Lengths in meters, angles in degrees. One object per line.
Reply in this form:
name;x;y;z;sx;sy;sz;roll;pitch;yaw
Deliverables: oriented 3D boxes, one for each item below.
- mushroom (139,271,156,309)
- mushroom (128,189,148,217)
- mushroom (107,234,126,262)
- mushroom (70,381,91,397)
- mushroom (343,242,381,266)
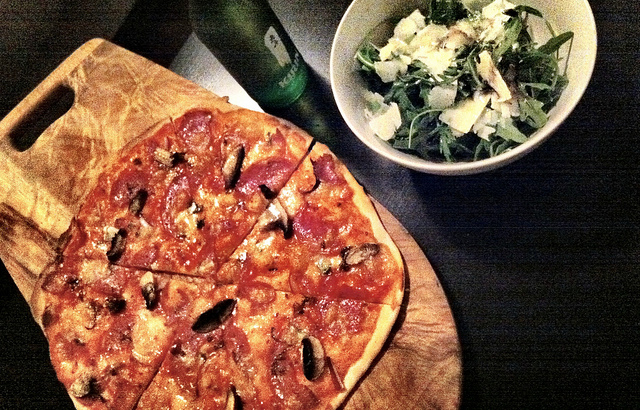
mushroom;-0.779;0.378;3.140;0.076;0.039;0.144;-4;92;37
mushroom;-0.836;-0.015;3.174;0.071;0.027;0.114;28;84;-8
mushroom;-0.934;0.196;3.172;0.087;0.026;0.111;25;89;-8
mushroom;-1.070;0.822;3.086;0.075;0.030;0.080;34;87;10
mushroom;0.174;0.207;2.960;0.154;0.049;0.077;-21;80;8
